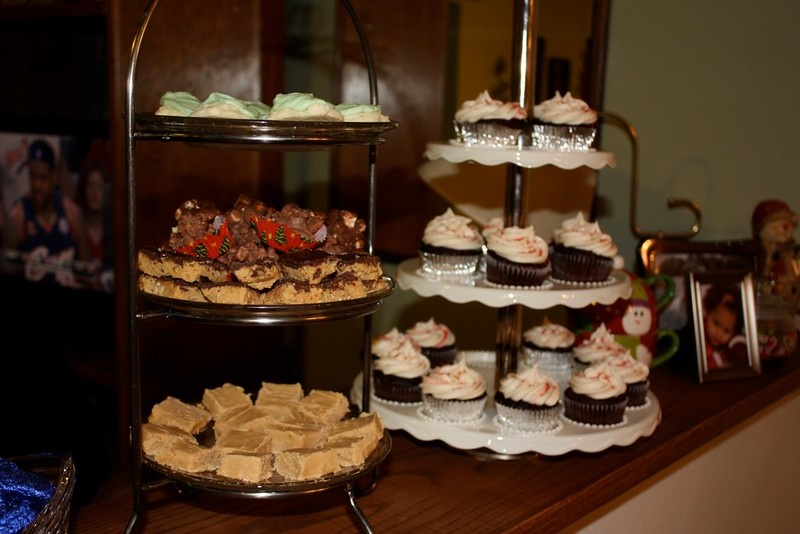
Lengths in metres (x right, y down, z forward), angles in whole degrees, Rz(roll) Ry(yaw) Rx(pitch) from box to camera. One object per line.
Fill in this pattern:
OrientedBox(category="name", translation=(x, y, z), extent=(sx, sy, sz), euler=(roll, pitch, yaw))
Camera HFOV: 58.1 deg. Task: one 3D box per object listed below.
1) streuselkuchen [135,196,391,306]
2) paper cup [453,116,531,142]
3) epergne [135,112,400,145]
OrientedBox(category="streuselkuchen", translation=(-0.296, -0.108, 1.503), extent=(0.452, 0.240, 0.326), euler=(-11, 20, -42))
OrientedBox(category="paper cup", translation=(0.233, -0.347, 1.851), extent=(0.178, 0.066, 0.095), euler=(1, 13, 3))
OrientedBox(category="epergne", translation=(-0.246, -0.265, 1.383), extent=(0.499, 0.058, 0.164), euler=(-5, 14, -20))
